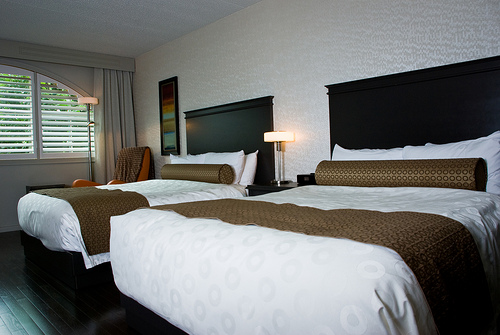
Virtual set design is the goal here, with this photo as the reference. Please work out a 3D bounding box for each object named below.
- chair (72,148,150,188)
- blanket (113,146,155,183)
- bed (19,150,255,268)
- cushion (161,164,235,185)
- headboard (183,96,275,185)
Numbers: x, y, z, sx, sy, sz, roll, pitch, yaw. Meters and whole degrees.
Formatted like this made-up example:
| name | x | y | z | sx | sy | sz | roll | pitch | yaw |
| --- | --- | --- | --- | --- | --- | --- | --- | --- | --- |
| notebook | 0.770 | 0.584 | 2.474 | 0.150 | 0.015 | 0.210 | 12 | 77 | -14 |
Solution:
| name | x | y | z | sx | sy | sz | roll | pitch | yaw |
| --- | --- | --- | --- | --- | --- | --- | --- | --- | --- |
| chair | -2.396 | 0.100 | 5.352 | 0.713 | 0.923 | 1.015 | -7 | -11 | 37 |
| blanket | -1.995 | -0.030 | 5.873 | 0.543 | 0.737 | 0.734 | -3 | -7 | 15 |
| bed | -1.220 | 0.338 | 3.653 | 1.856 | 0.787 | 1.842 | 1 | -3 | -44 |
| cushion | -0.806 | 0.074 | 4.489 | 1.174 | 0.293 | 0.281 | 1 | -1 | 37 |
| headboard | -0.402 | -0.344 | 4.774 | 1.739 | 1.229 | 0.071 | 0 | 4 | 37 |
